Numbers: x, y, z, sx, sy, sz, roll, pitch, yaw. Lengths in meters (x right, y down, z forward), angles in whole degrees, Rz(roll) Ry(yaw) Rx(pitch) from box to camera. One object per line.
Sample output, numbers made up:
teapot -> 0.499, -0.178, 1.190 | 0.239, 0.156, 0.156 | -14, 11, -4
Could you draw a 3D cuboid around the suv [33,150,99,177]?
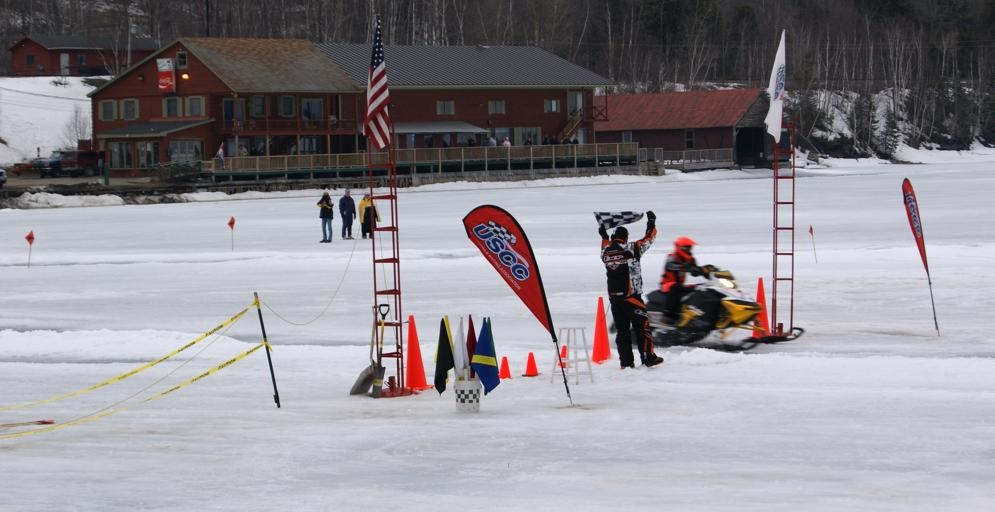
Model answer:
suv -> -45.147, -9.680, 198.442 | 5.519, 2.011, 3.228 | 0, 0, -26
